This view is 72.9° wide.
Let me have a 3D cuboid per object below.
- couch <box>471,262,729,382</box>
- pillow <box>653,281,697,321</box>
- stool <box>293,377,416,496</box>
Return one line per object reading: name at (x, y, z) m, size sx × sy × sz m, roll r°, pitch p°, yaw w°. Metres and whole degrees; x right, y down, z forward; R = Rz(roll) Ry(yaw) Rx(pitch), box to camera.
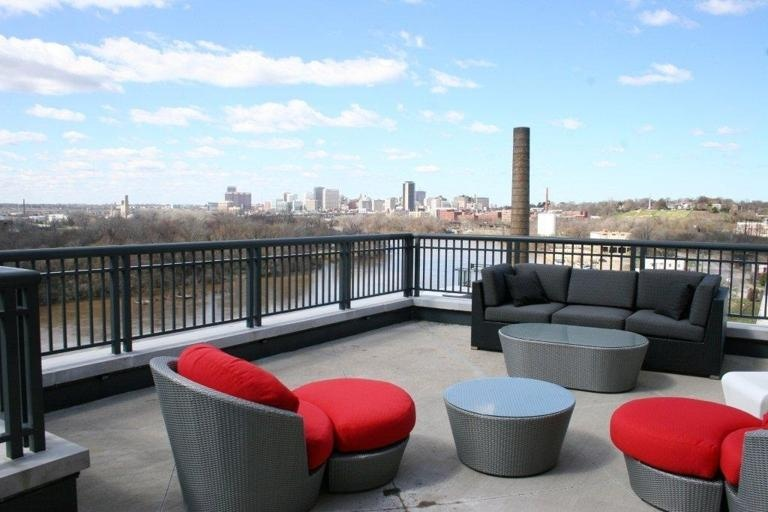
couch at (2.649, 0.695, 6.476) m, size 2.770 × 0.975 × 1.108 m, roll 2°, pitch 10°, yaw 36°
pillow at (3.339, 0.485, 6.039) m, size 0.261 × 0.407 × 0.452 m, roll -7°, pitch 3°, yaw -11°
stool at (-0.192, 1.280, 3.867) m, size 0.676 × 0.378 × 0.794 m, roll 1°, pitch 1°, yaw -15°
